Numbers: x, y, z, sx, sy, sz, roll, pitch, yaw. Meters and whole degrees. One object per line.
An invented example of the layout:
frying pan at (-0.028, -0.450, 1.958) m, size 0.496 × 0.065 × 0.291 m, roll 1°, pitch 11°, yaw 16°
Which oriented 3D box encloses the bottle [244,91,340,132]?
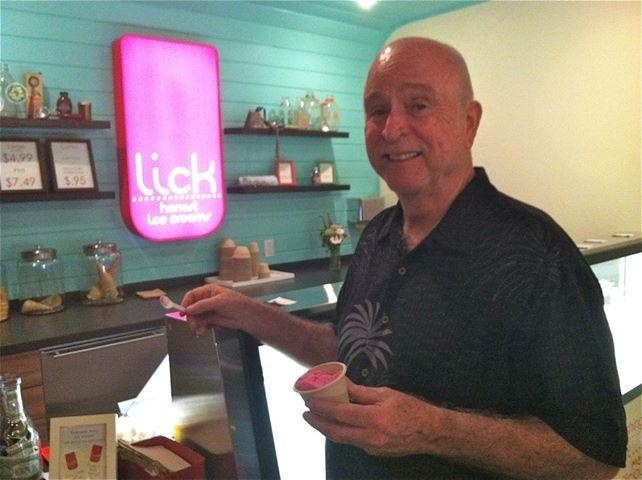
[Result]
bottle at (-0.182, -1.025, 4.076) m, size 0.993 × 0.364 × 0.289 m, roll -8°, pitch 18°, yaw -35°

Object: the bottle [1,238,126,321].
bottle at (-1.566, 0.246, 3.052) m, size 0.469 × 0.264 × 0.167 m, roll -5°, pitch -1°, yaw -42°

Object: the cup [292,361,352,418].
cup at (0.002, 0.318, 1.111) m, size 0.120 × 0.078 × 0.091 m, roll -5°, pitch 8°, yaw 1°
